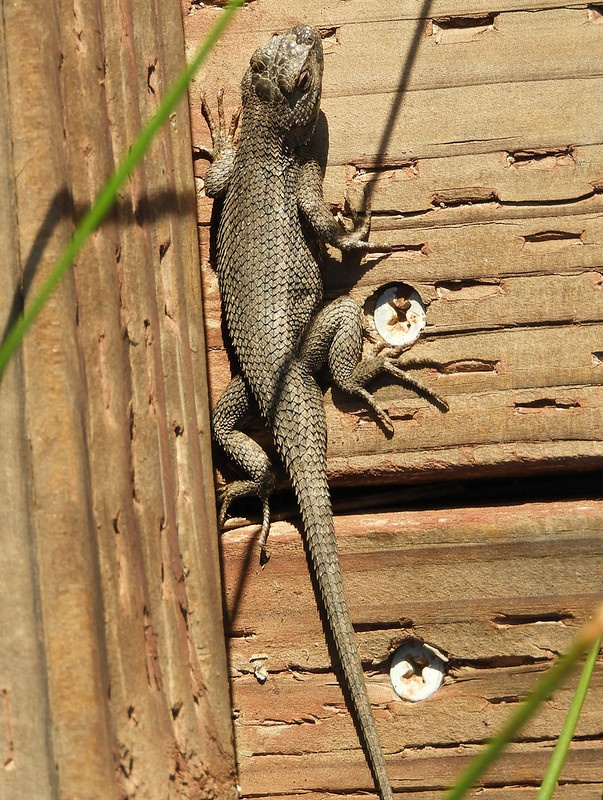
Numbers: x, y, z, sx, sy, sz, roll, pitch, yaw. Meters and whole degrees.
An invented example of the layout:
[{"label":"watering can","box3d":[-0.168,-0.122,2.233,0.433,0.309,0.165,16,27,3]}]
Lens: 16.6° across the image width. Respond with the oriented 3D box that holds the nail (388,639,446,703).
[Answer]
[{"label":"nail","box3d":[0.169,0.402,3.004,0.081,0.086,0.019,6,-5,6]}]
